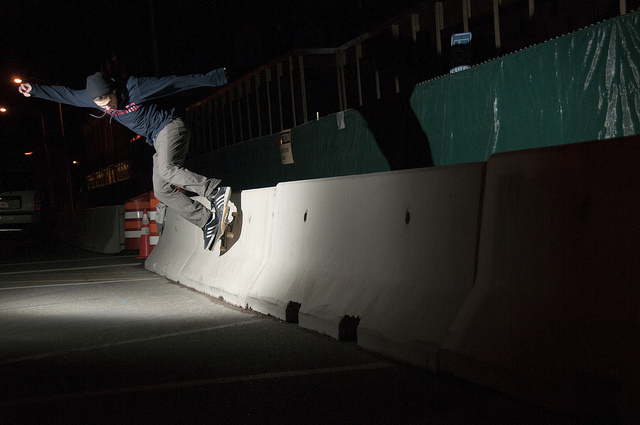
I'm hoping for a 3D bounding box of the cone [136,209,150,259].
[{"bbox_3d":[-5.150,0.703,13.504,0.238,0.936,0.463,-2,1,-44],"label":"cone"}]
